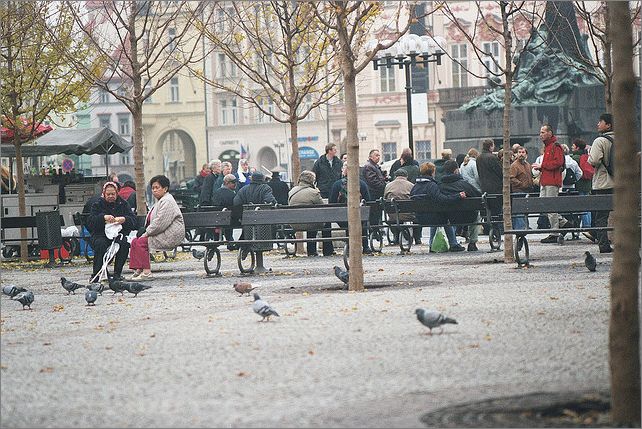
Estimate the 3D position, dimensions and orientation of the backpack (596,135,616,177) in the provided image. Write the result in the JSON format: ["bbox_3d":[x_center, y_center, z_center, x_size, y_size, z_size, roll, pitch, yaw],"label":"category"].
[{"bbox_3d":[6.489,-1.319,32.308,0.275,1.011,0.351,-4,3,9],"label":"backpack"}]

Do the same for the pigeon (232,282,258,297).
[{"bbox_3d":[-1.640,1.558,29.351,0.223,0.217,0.537,-1,-3,-37],"label":"pigeon"}]

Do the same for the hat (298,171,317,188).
[{"bbox_3d":[-0.352,-0.891,35.569,0.428,0.391,0.324,-5,11,-33],"label":"hat"}]

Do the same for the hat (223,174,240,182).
[{"bbox_3d":[-2.412,-0.958,37.582,0.267,0.136,0.189,-3,-3,10],"label":"hat"}]

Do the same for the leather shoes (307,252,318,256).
[{"bbox_3d":[-0.191,1.001,35.526,0.275,0.108,0.085,-7,6,-24],"label":"leather shoes"}]

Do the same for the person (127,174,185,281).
[{"bbox_3d":[-3.705,0.303,31.843,0.956,1.539,1.086,-2,3,38],"label":"person"}]

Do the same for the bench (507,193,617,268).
[{"bbox_3d":[5.332,0.308,32.044,2.364,1.447,2.653,-2,3,39],"label":"bench"}]

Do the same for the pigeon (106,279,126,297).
[{"bbox_3d":[-4.252,1.546,30.049,0.283,0.374,0.414,-2,-3,42],"label":"pigeon"}]

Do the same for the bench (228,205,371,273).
[{"bbox_3d":[-0.369,0.185,33.284,2.900,0.659,3.042,-4,2,0],"label":"bench"}]

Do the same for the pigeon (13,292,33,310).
[{"bbox_3d":[-5.998,1.772,29.001,0.433,0.327,0.321,3,-2,-29],"label":"pigeon"}]

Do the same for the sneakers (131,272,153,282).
[{"bbox_3d":[-3.992,1.422,31.870,0.481,0.188,0.172,2,-1,-2],"label":"sneakers"}]

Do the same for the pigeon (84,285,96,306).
[{"bbox_3d":[-4.753,1.701,29.187,0.219,0.325,0.412,-3,-18,-12],"label":"pigeon"}]

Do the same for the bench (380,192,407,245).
[{"bbox_3d":[1.836,0.065,35.915,0.594,0.876,1.374,-1,2,-12],"label":"bench"}]

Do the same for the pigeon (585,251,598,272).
[{"bbox_3d":[5.741,1.004,30.328,0.237,0.425,0.738,-4,2,11],"label":"pigeon"}]

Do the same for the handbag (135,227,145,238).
[{"bbox_3d":[-4.087,0.422,32.313,0.160,0.136,0.251,22,15,-1],"label":"handbag"}]

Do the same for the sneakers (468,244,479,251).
[{"bbox_3d":[3.744,0.828,35.070,0.230,0.215,0.169,0,-5,-2],"label":"sneakers"}]
